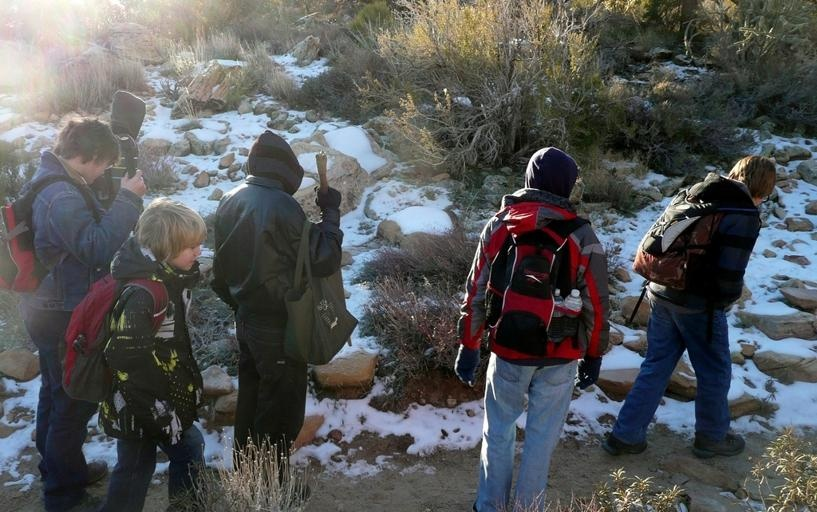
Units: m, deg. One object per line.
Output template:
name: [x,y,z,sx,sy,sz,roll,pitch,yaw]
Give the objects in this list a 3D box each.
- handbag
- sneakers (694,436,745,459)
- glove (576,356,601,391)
handbag: [-0.939,0.407,6.979,0.663,1.449,0.398,4,15,2]
sneakers: [3.583,2.239,7.750,0.572,0.274,0.242,-6,23,-2]
glove: [1.932,1.270,7.053,0.261,0.341,0.113,28,4,24]
